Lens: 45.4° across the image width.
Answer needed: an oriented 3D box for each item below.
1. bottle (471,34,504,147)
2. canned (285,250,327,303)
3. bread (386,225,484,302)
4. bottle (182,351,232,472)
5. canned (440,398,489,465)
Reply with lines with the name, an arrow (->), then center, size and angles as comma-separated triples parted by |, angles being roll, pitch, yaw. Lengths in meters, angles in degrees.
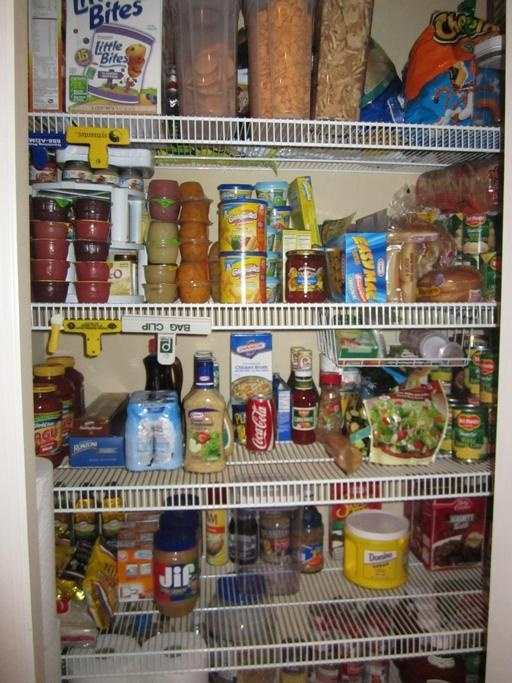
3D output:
bottle -> 0.505, -0.540, 1.325 | 0.047, 0.212, 0.109 | -4, 10, -8
canned -> 0.108, -0.146, 1.355 | 0.093, 0.115, 0.090 | -2, 10, 2
bread -> 0.380, -0.182, 1.338 | 0.198, 0.184, 0.058 | 1, 12, -1
bottle -> -0.112, 0.152, 1.388 | 0.104, 0.263, 0.152 | -2, 10, 3
canned -> 0.479, 0.211, 1.473 | 0.134, 0.136, 0.128 | 0, 10, 8
